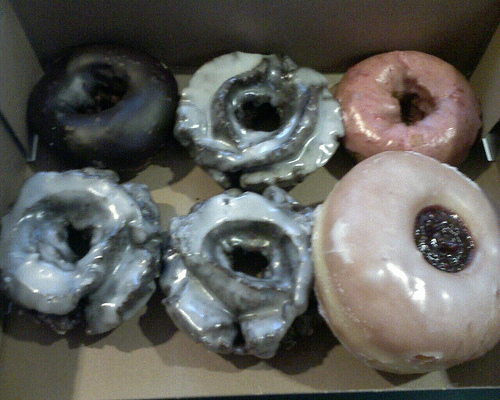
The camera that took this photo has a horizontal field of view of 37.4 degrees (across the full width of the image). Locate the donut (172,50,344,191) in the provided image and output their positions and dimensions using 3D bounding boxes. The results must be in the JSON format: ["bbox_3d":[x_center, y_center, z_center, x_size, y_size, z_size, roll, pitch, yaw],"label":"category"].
[{"bbox_3d":[0.018,-0.198,1.807,0.414,0.129,0.365,17,60,4],"label":"donut"}]

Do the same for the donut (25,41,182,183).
[{"bbox_3d":[-0.355,-0.214,1.811,0.373,0.177,0.310,-1,60,-6],"label":"donut"}]
